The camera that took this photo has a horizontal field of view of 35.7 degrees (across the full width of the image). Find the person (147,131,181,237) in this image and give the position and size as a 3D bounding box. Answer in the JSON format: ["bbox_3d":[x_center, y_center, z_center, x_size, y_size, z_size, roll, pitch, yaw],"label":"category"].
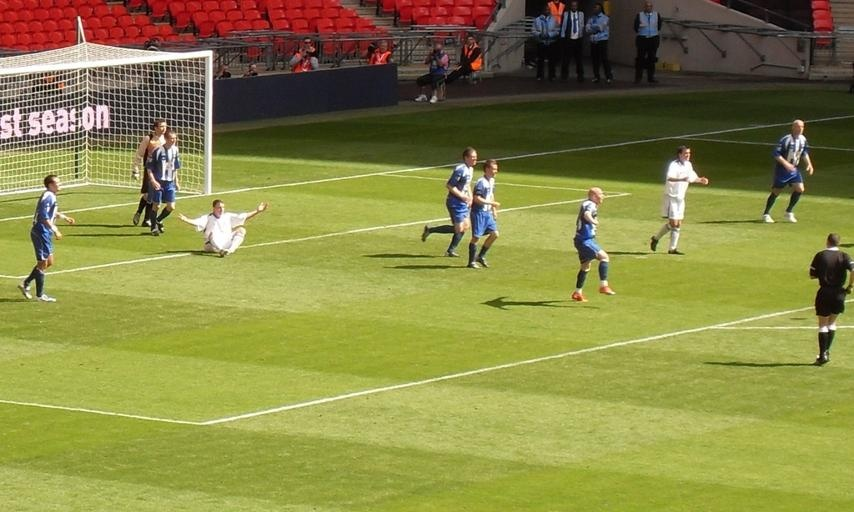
[{"bbox_3d":[-6.076,-1.723,30.345,0.691,2.374,1.231,-1,10,-10],"label":"person"}]

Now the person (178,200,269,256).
[{"bbox_3d":[-4.446,-0.597,28.563,2.185,0.848,0.930,-8,26,-22],"label":"person"}]

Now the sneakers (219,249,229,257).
[{"bbox_3d":[-4.390,-0.068,28.489,0.193,0.137,0.103,-1,10,-13],"label":"sneakers"}]

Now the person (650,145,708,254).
[{"bbox_3d":[5.526,-1.238,29.084,1.055,2.351,1.394,3,10,10],"label":"person"}]

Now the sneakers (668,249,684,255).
[{"bbox_3d":[5.525,-0.075,29.005,0.390,0.099,0.105,1,13,-9],"label":"sneakers"}]

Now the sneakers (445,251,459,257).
[{"bbox_3d":[0.533,-0.041,28.663,0.339,0.093,0.087,1,33,-9],"label":"sneakers"}]

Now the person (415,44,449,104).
[{"bbox_3d":[0.134,-6.442,46.970,1.066,2.007,1.490,0,10,-2],"label":"person"}]

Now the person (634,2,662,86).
[{"bbox_3d":[8.626,-8.336,51.711,0.913,3.136,1.119,2,11,8],"label":"person"}]

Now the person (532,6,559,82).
[{"bbox_3d":[4.743,-8.432,52.299,0.968,2.846,1.062,1,11,2],"label":"person"}]

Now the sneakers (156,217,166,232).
[{"bbox_3d":[-6.114,-0.678,30.115,0.162,0.266,0.114,-9,21,25],"label":"sneakers"}]

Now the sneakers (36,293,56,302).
[{"bbox_3d":[-7.396,0.815,25.662,0.430,0.118,0.125,1,7,-4],"label":"sneakers"}]

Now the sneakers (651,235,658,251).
[{"bbox_3d":[5.004,-0.266,28.907,0.216,0.335,0.141,-6,38,6],"label":"sneakers"}]

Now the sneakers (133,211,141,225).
[{"bbox_3d":[-6.827,-0.896,30.878,0.150,0.133,0.363,19,20,-28],"label":"sneakers"}]

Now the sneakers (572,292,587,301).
[{"bbox_3d":[2.987,0.811,26.063,0.389,0.189,0.112,1,32,-3],"label":"sneakers"}]

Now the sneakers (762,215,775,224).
[{"bbox_3d":[8.236,-0.876,31.437,0.340,0.162,0.188,4,11,30],"label":"sneakers"}]
